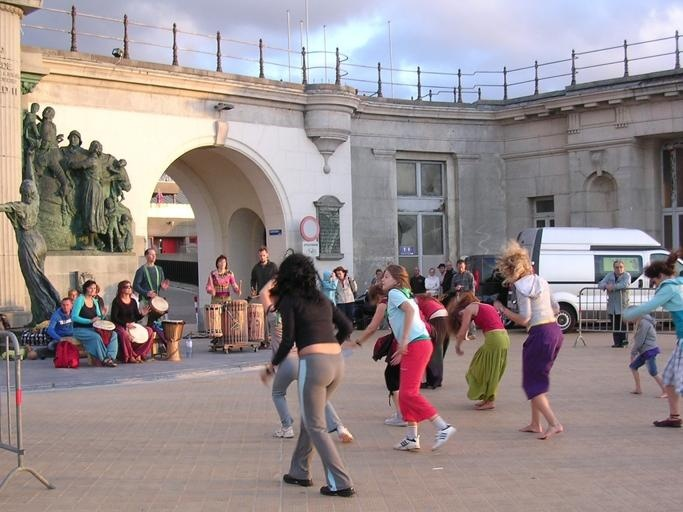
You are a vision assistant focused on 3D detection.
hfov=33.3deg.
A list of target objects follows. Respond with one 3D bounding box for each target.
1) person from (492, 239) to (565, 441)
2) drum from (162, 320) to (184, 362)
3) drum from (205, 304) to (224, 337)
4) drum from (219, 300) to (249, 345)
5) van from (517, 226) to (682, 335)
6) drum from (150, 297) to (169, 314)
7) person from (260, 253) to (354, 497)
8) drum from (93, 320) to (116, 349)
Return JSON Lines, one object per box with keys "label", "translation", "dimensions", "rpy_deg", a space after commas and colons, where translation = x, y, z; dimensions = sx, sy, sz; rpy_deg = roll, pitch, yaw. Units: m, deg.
{"label": "person", "translation": [3.006, 1.308, 17.801], "dimensions": [1.136, 2.900, 0.742], "rpy_deg": [7, 12, 38]}
{"label": "drum", "translation": [-3.597, 1.822, 24.455], "dimensions": [0.511, 0.805, 0.529], "rpy_deg": [-1, -2, 0]}
{"label": "drum", "translation": [-2.743, 1.435, 25.353], "dimensions": [0.623, 0.739, 0.635], "rpy_deg": [-2, 0, -16]}
{"label": "drum", "translation": [-2.325, 1.494, 25.588], "dimensions": [0.625, 1.034, 0.630], "rpy_deg": [-2, 2, 0]}
{"label": "van", "translation": [6.381, 0.488, 29.121], "dimensions": [3.955, 2.190, 2.329], "rpy_deg": [-3, 0, -4]}
{"label": "drum", "translation": [-3.873, 1.089, 24.408], "dimensions": [0.362, 0.399, 0.427], "rpy_deg": [-2, 10, -8]}
{"label": "person", "translation": [-0.324, 1.639, 16.051], "dimensions": [1.365, 3.254, 0.849], "rpy_deg": [8, 13, 43]}
{"label": "drum", "translation": [-4.795, 1.564, 23.416], "dimensions": [0.467, 0.542, 0.502], "rpy_deg": [-8, 19, -35]}
